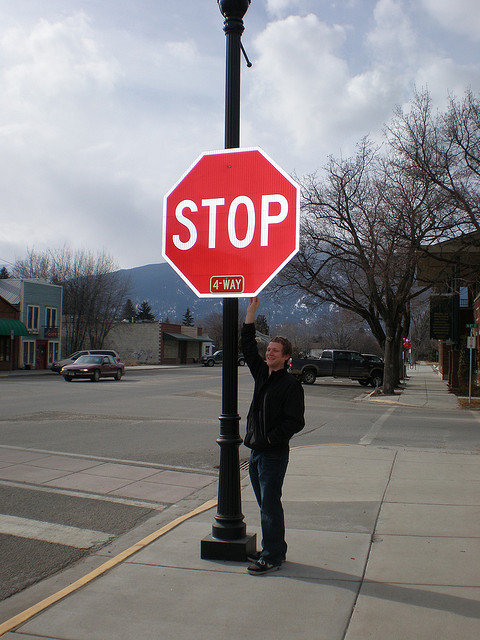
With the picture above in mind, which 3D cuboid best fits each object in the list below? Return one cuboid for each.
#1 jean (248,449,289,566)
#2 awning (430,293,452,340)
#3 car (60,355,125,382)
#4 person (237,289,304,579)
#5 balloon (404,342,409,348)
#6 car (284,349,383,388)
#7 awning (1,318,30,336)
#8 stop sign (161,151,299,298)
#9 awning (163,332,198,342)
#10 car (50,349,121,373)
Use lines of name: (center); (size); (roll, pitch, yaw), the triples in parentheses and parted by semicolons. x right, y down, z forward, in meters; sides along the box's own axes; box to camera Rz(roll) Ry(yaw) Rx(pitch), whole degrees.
jean: (0.178, 1.311, 4.772); (0.284, 0.807, 0.232); (0, -2, 18)
awning: (9.091, -0.207, 30.668); (0.957, 2.113, 2.128); (0, -3, 17)
car: (-7.313, 2.356, 33.616); (1.495, 1.290, 3.731); (0, -4, 17)
person: (0.223, 0.802, 4.885); (0.420, 1.905, 0.639); (1, -2, 0)
balloon: (10.893, 1.627, 44.499); (0.280, 0.350, 0.306); (3, 3, 33)
car: (5.148, 2.183, 35.141); (5.096, 2.379, 2.237); (2, 17, 0)
awning: (-15.352, 0.440, 45.670); (1.255, 1.159, 4.153); (1, -4, -6)
stop sign: (-0.067, -0.649, 4.534); (0.965, 1.275, 0.080); (0, -7, 15)
awning: (-6.897, 1.869, 76.503); (1.920, 0.850, 7.438); (1, -4, 10)
car: (-8.809, 2.297, 38.048); (1.105, 1.112, 2.719); (-5, -6, 41)
